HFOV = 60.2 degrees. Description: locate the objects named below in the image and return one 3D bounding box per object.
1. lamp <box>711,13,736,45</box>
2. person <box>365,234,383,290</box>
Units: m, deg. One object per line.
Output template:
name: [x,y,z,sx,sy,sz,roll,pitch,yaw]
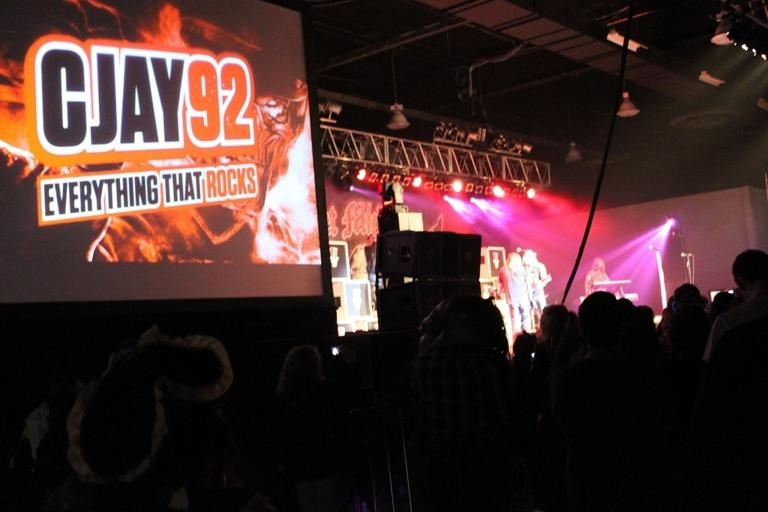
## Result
lamp: [3.994,-2.719,7.828,0.209,0.342,0.731,-2,-4,26]
person: [-0.215,0.036,11.269,0.278,0.752,0.755,3,5,-8]
